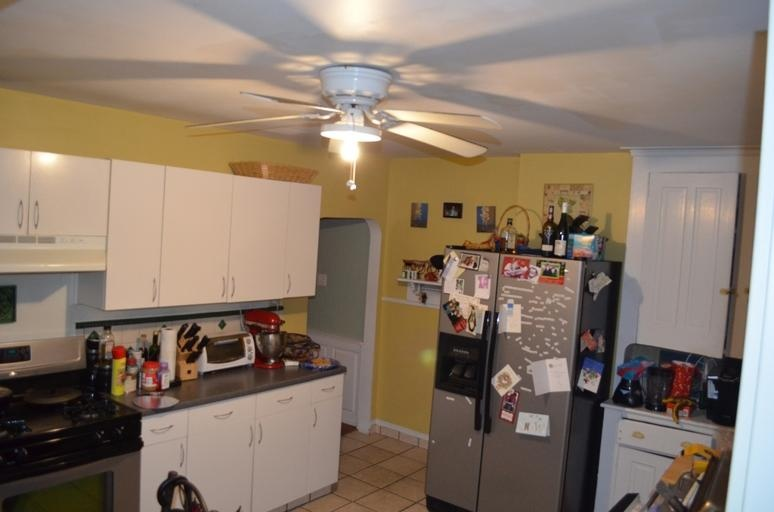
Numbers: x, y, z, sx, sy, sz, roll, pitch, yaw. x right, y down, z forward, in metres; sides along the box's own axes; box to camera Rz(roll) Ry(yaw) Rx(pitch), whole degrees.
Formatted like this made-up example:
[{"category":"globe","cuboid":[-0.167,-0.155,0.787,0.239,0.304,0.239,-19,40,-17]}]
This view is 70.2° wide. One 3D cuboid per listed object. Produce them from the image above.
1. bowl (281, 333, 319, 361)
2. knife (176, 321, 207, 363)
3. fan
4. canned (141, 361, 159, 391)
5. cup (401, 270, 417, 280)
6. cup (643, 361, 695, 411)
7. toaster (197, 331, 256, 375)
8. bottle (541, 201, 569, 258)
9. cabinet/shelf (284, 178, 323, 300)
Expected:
[{"category":"bowl","cuboid":[-0.826,0.866,5.224,0.342,0.118,0.268,3,-1,-5]},{"category":"knife","cuboid":[-1.582,0.704,4.488,0.209,0.339,0.085,33,11,9]},{"category":"fan","cuboid":[-0.025,-0.740,3.262,1.188,0.688,0.988,0,5,3]},{"category":"canned","cuboid":[-1.772,0.895,4.104,0.125,0.214,0.082,-2,5,-25]},{"category":"cup","cuboid":[0.230,0.205,6.001,0.188,0.091,0.123,3,6,26]},{"category":"cup","cuboid":[2.303,1.058,4.452,0.414,0.393,0.302,6,-8,-7]},{"category":"toaster","cuboid":[-1.420,0.849,4.741,0.489,0.281,0.302,-5,-7,-45]},{"category":"bottle","cuboid":[1.394,-0.219,4.545,0.205,0.441,0.296,2,5,17]},{"category":"cabinet/shelf","cuboid":[-0.758,-0.143,5.047,0.109,1.041,0.412,4,6,37]}]
